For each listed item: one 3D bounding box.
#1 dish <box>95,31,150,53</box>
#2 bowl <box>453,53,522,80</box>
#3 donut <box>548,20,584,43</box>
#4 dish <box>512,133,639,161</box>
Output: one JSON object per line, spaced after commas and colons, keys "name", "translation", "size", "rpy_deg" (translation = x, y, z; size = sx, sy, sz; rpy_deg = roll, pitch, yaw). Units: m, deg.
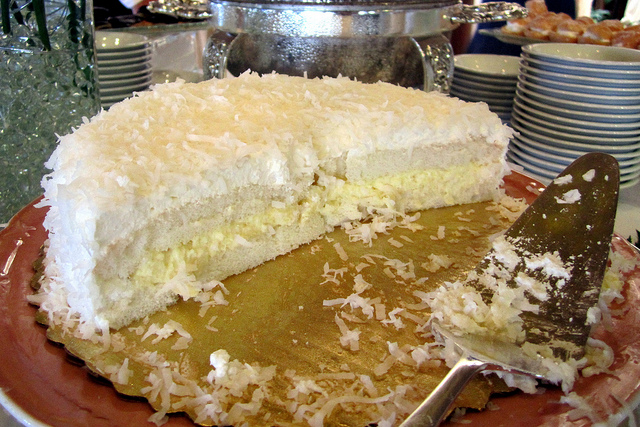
{"name": "dish", "translation": [-1.159, -1.000, 3.319], "size": [0.277, 0.063, 0.272], "rpy_deg": [-7, 34, -20]}
{"name": "bowl", "translation": [0.982, -0.864, 3.315], "size": [0.281, 0.073, 0.277], "rpy_deg": [-1, 24, 1]}
{"name": "donut", "translation": [1.476, -1.091, 3.378], "size": [0.125, 0.058, 0.173], "rpy_deg": [19, 58, 34]}
{"name": "dish", "translation": [1.173, -0.319, 2.742], "size": [0.315, 0.055, 0.312], "rpy_deg": [-8, 17, -27]}
